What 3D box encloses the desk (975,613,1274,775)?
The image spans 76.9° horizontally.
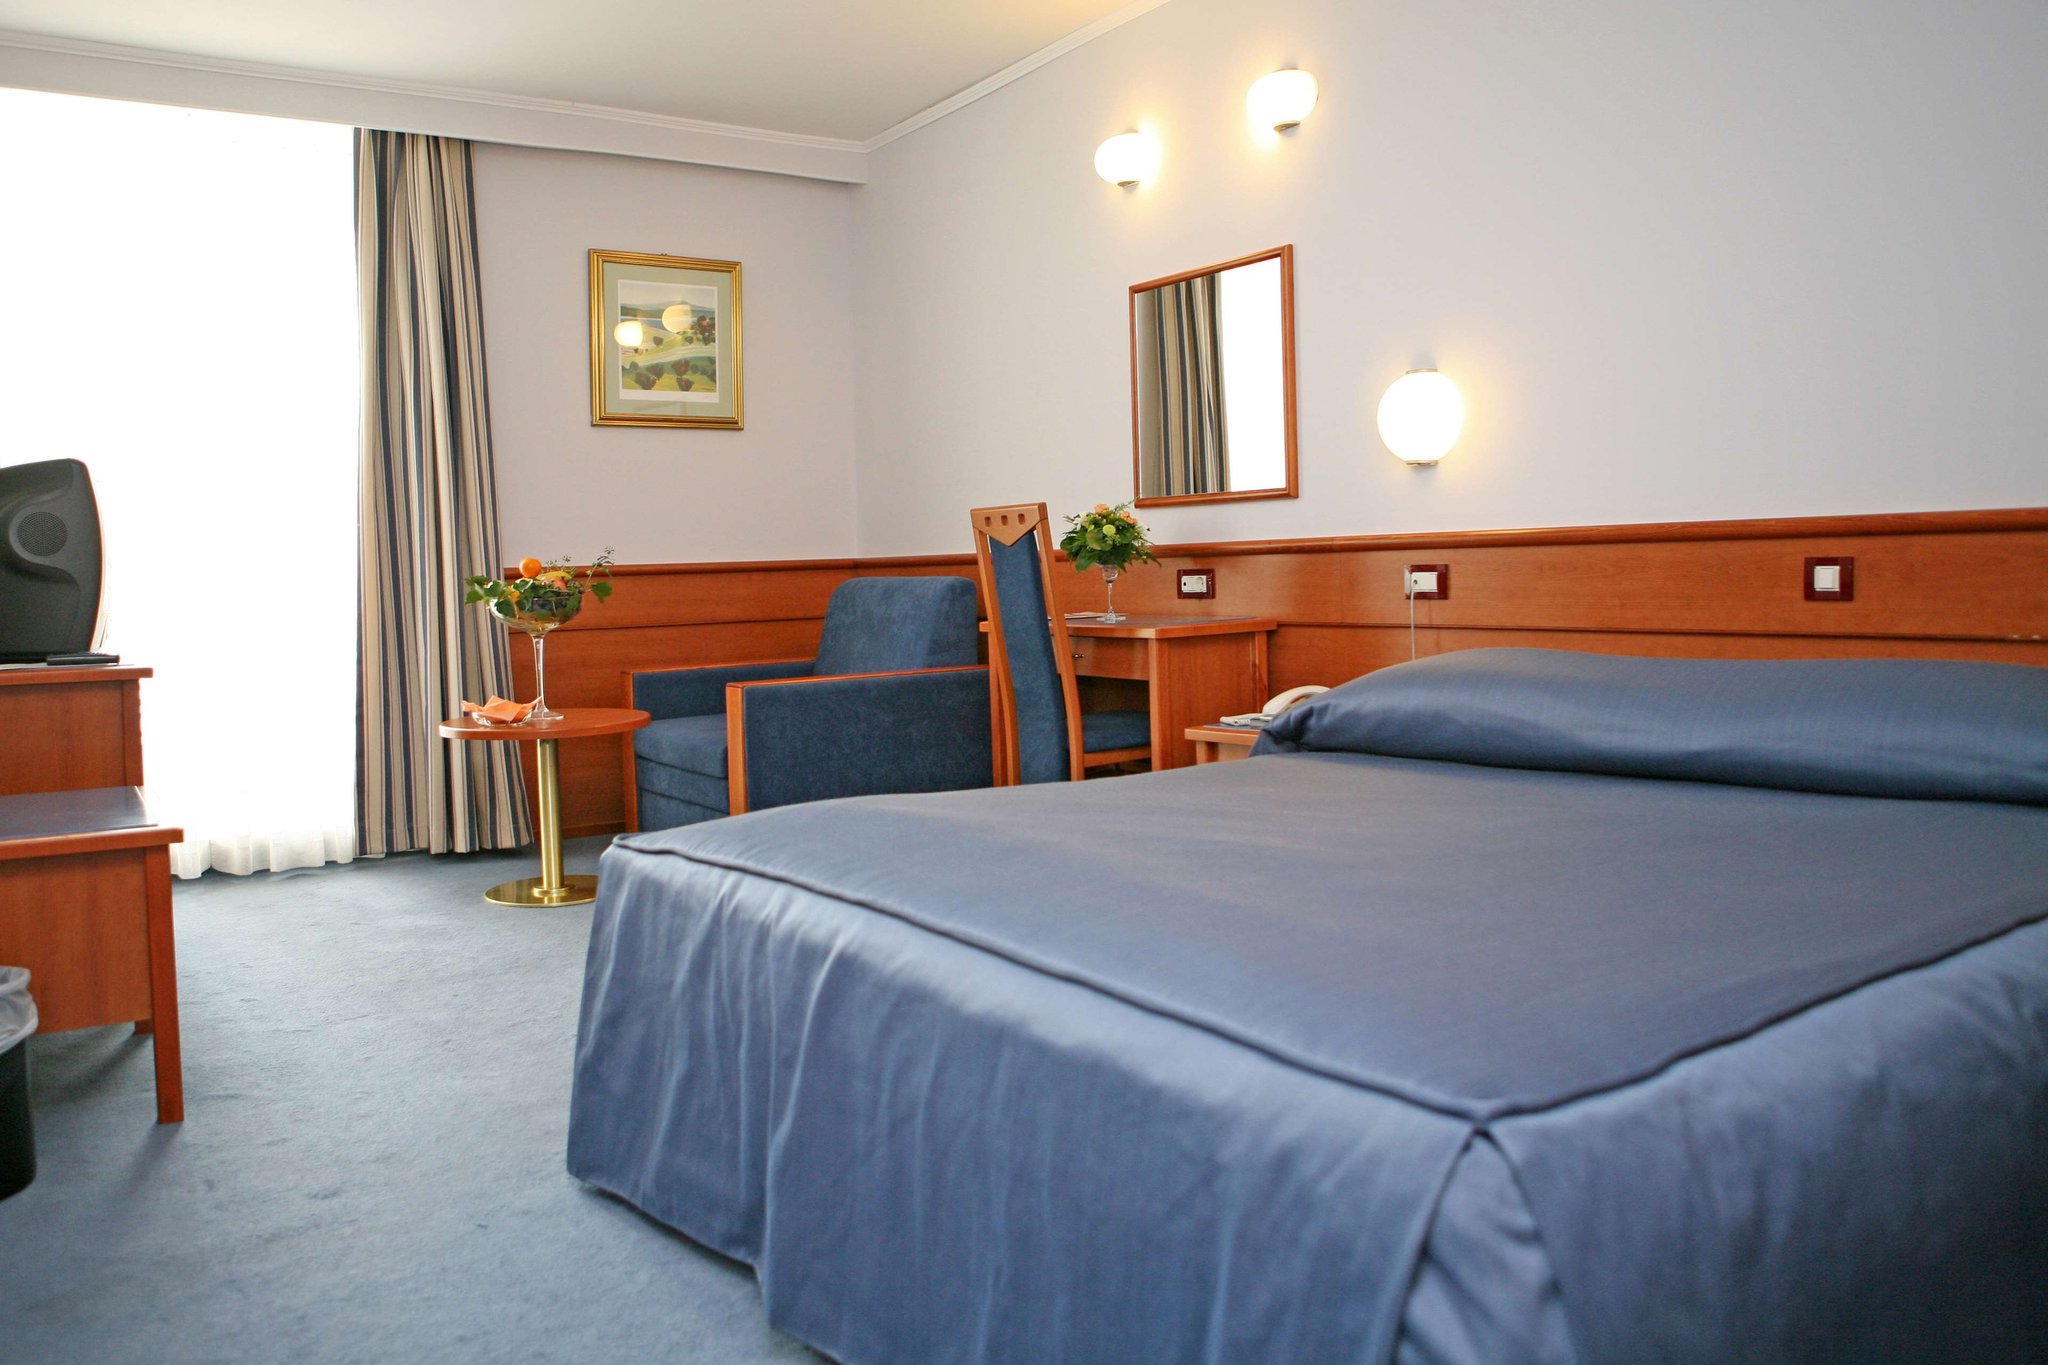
[{"bbox_3d":[0.353,-0.057,4.829,0.659,0.828,0.939,-6,7,-37],"label":"desk"}]

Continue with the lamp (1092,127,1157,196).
[{"bbox_3d":[0.402,-2.045,5.070,0.263,0.213,0.209,-1,30,6],"label":"lamp"}]

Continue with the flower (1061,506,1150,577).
[{"bbox_3d":[0.285,-0.533,4.939,0.308,0.207,0.302,5,6,22],"label":"flower"}]

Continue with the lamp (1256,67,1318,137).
[{"bbox_3d":[0.888,-2.006,4.484,0.212,0.196,0.214,-1,16,5],"label":"lamp"}]

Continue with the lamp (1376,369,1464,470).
[{"bbox_3d":[1.281,-0.856,4.208,0.299,0.307,0.138,6,17,30],"label":"lamp"}]

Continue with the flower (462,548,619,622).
[{"bbox_3d":[-1.988,-0.353,5.099,0.560,0.286,0.431,1,0,8],"label":"flower"}]
